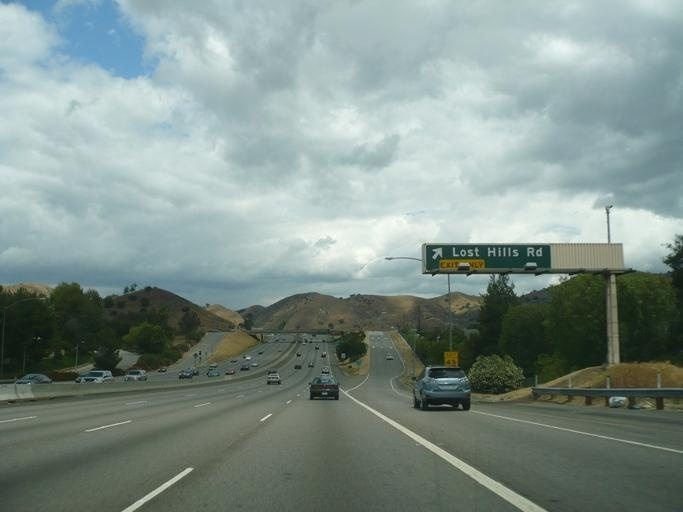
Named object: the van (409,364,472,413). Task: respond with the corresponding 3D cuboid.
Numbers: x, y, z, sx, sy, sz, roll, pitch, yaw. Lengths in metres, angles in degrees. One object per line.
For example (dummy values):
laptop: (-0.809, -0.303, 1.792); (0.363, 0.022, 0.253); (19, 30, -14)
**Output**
van: (4.158, 5.564, 27.144); (2.254, 2.109, 3.811); (1, -8, -1)
